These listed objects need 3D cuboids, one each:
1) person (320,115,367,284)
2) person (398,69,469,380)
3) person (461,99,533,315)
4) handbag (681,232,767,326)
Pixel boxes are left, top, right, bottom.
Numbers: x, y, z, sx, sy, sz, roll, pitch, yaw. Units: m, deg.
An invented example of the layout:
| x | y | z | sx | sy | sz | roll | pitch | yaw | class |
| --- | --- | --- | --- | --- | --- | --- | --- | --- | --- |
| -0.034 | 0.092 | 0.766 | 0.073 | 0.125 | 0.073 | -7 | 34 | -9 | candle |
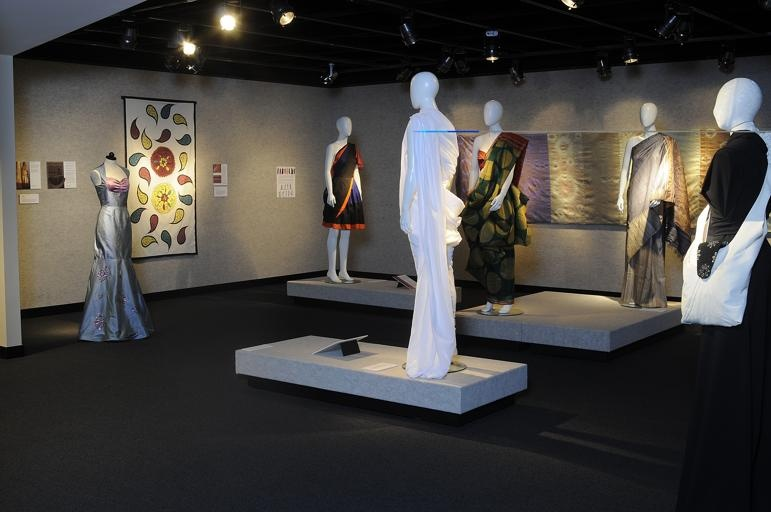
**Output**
| x | y | z | sx | sy | sz | roll | pitch | yaw | class |
| --- | --- | --- | --- | --- | --- | --- | --- | --- | --- |
| -0.662 | -0.879 | 7.954 | 0.604 | 2.521 | 0.633 | -1 | 9 | -5 | person |
| 0.349 | -0.272 | 4.010 | 0.484 | 2.407 | 0.604 | 1 | 9 | 8 | person |
| 1.290 | -0.565 | 5.948 | 0.765 | 2.500 | 0.417 | 2 | 9 | 11 | person |
| 1.562 | 0.107 | 2.387 | 0.347 | 0.416 | 0.157 | 8 | 0 | 36 | handbag |
